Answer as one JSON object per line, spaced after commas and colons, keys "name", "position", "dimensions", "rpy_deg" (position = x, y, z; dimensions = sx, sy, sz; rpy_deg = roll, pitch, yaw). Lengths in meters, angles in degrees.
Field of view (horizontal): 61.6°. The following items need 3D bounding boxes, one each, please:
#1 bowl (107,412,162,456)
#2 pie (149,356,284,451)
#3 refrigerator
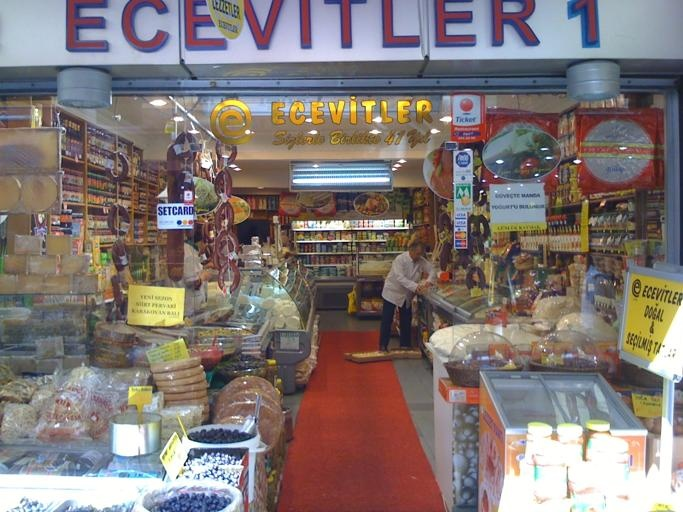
{"name": "bowl", "position": [-0.861, 0.737, 2.356], "dimensions": [0.161, 0.122, 0.177], "rpy_deg": [2, 1, 0]}
{"name": "pie", "position": [-0.594, 0.740, 2.978], "dimensions": [0.505, 0.212, 0.556], "rpy_deg": [7, 12, 9]}
{"name": "refrigerator", "position": [0.953, 0.817, 2.535], "dimensions": [0.409, 0.881, 0.454], "rpy_deg": [3, -39, 3]}
